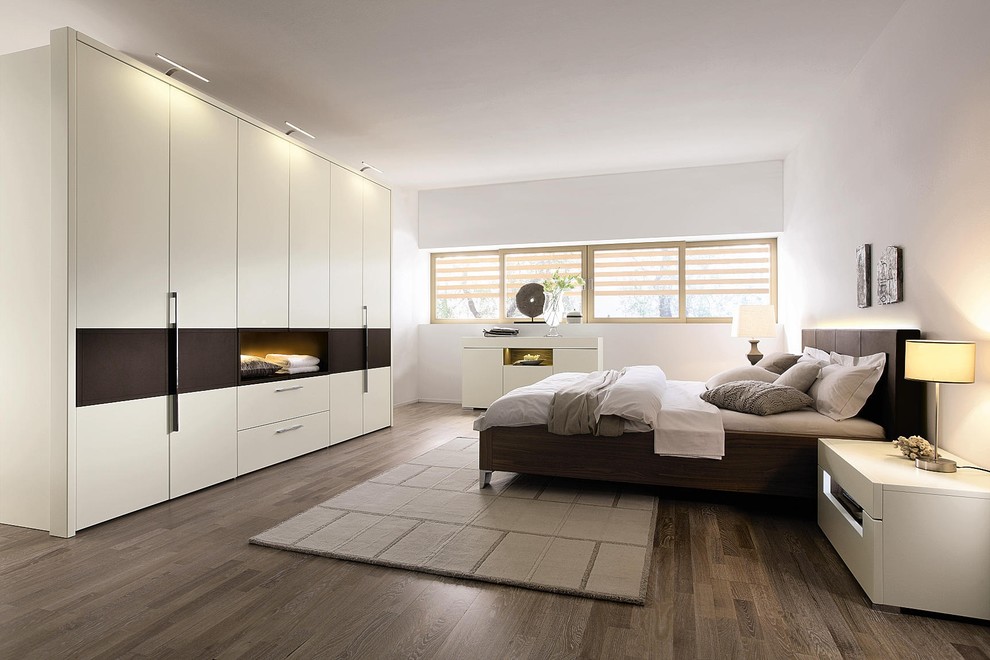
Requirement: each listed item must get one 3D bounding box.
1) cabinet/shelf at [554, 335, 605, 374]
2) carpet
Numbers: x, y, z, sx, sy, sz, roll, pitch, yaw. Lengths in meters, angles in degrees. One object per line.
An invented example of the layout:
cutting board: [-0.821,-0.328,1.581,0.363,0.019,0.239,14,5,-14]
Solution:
cabinet/shelf: [0.995,0.281,7.438,0.711,0.636,0.373,1,1,23]
carpet: [-0.096,1.295,4.150,2.293,0.119,1.316,3,14,13]
